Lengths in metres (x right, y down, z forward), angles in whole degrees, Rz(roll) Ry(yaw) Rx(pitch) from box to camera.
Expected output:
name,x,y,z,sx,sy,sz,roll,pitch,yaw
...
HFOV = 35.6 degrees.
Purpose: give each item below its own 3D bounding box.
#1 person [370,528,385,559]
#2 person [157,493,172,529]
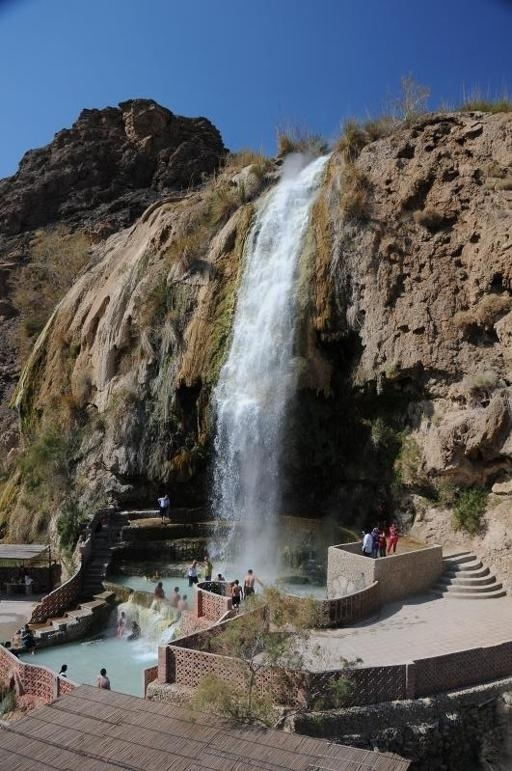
name,x,y,z,sx,sy,sz,roll,pitch,yaw
person,2.485,3.218,16.411,0.222,0.569,0.742,-1,-9,11
person,-2.743,3.716,23.636,0.320,0.792,1.241,1,-9,-5
